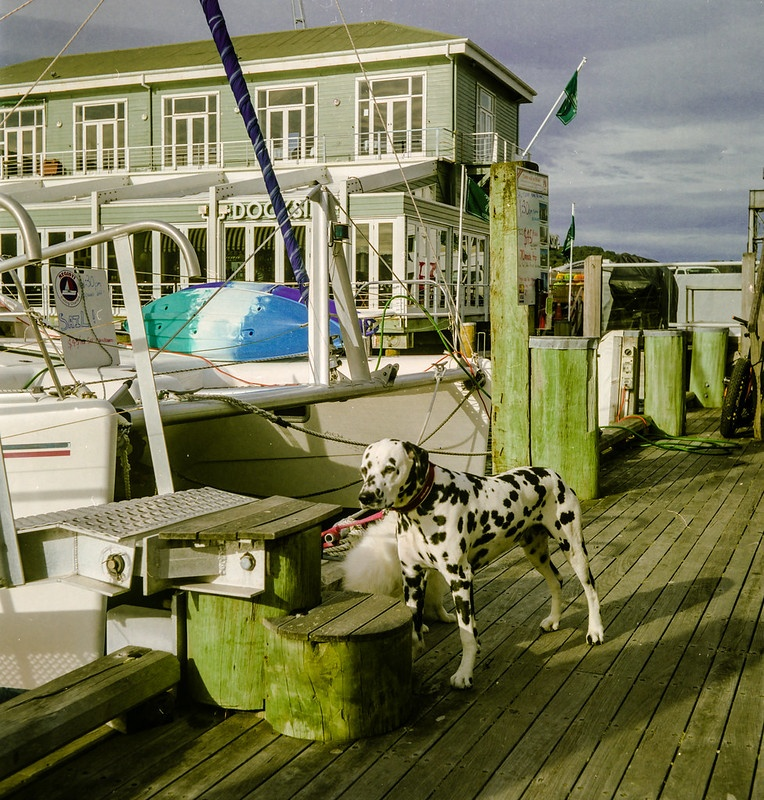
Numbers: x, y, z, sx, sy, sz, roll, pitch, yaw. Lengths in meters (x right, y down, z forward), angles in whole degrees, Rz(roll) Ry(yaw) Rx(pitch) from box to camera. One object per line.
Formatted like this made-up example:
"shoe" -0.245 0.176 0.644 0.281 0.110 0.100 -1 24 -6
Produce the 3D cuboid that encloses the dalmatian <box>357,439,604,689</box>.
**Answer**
"dalmatian" 0.368 0.580 4.422 1.067 0.915 0.352 -6 9 -34

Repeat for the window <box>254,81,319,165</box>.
"window" -2.014 -5.787 23.904 1.332 1.756 0.094 -2 -13 5

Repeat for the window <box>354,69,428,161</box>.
"window" 0.167 -5.777 23.181 1.387 1.611 0.592 0 7 -1
